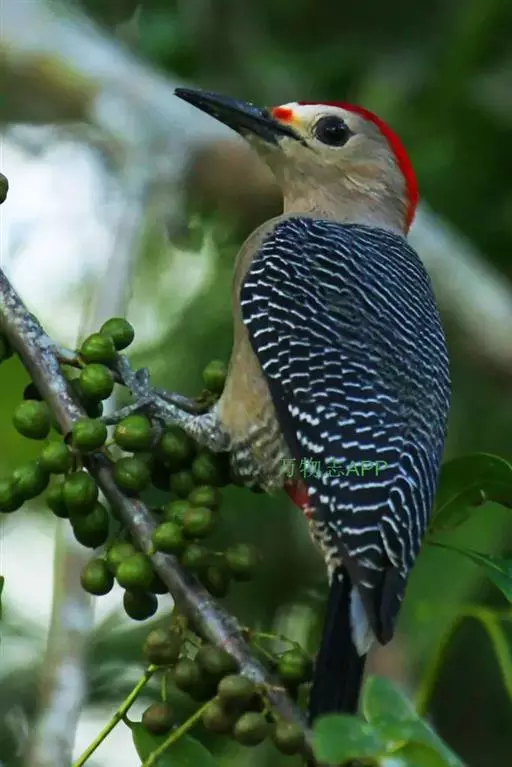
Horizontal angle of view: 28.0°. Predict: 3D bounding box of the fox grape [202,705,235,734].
[{"bbox_3d":[-0.068,0.606,1.837,0.057,0.073,0.033,10,37,-1],"label":"fox grape"}]
